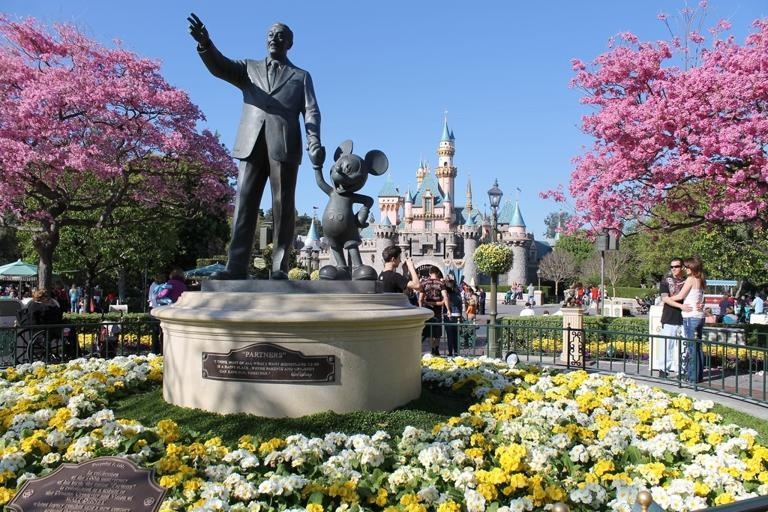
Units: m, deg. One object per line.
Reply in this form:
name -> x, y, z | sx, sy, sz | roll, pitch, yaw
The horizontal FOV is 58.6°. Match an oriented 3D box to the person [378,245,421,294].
person -> 0.283, 0.231, 12.413 | 0.668, 0.902, 2.241 | 0, -2, 4

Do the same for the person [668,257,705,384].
person -> 5.487, 1.131, 12.156 | 0.662, 2.800, 0.618 | 1, 0, 5

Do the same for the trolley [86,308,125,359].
trolley -> -6.351, 1.724, 15.563 | 0.719, 1.143, 0.727 | 2, -3, 5
